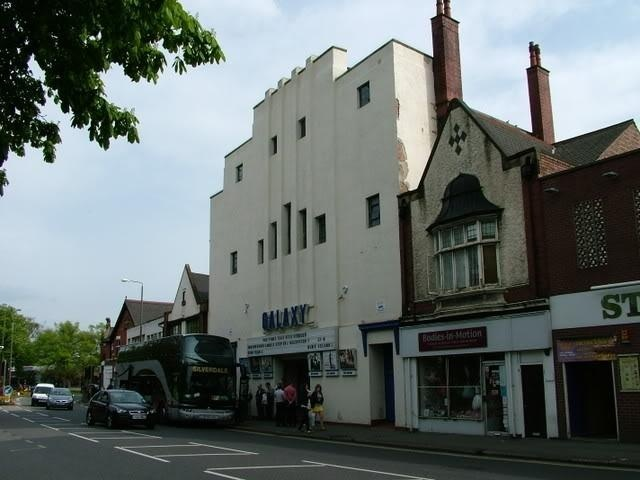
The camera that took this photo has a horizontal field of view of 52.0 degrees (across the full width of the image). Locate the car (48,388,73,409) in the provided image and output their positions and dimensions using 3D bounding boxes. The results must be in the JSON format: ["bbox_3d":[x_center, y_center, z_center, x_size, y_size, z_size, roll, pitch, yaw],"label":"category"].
[{"bbox_3d":[-20.224,12.410,51.141,1.246,1.111,2.312,4,-16,-19],"label":"car"}]

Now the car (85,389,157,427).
[{"bbox_3d":[-9.013,7.670,29.684,1.718,1.770,3.617,16,-25,-40],"label":"car"}]
